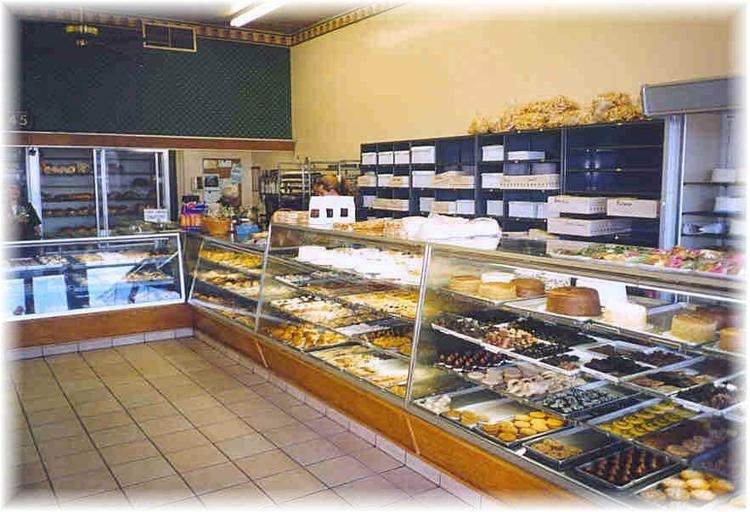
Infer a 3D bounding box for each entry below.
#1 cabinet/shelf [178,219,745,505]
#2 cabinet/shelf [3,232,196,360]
[{"bbox_3d":[0.588,0.598,3.739,3.508,1.338,0.593,9,15,41],"label":"cabinet/shelf"},{"bbox_3d":[-3.439,0.511,6.286,2.118,0.857,0.648,-6,12,-27],"label":"cabinet/shelf"}]
